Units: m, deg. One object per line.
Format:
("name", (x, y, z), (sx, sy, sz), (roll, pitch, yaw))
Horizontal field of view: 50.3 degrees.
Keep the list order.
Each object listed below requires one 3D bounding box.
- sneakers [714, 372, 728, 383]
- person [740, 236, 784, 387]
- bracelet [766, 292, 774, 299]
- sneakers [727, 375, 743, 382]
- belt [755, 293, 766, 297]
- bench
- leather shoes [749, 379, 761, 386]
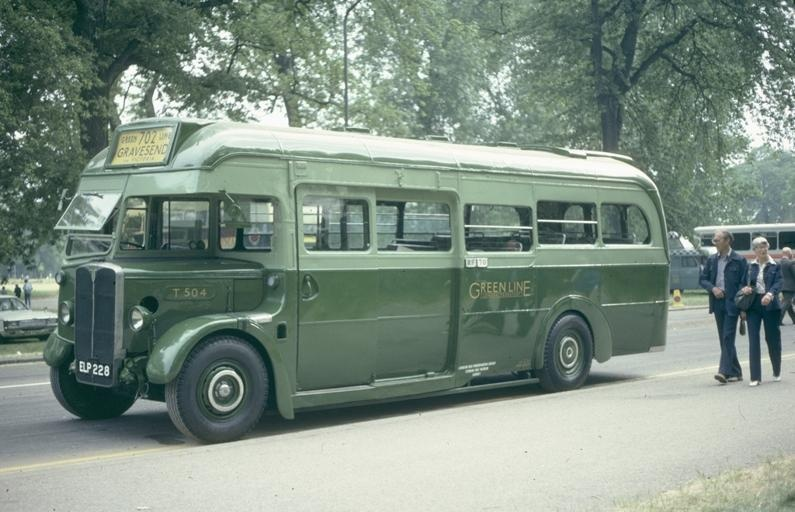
("sneakers", (5.883, 2.218, 15.389), (0.126, 0.109, 0.267), (-11, -50, 39))
("person", (6.584, 1.032, 15.326), (0.677, 2.638, 1.088), (4, 10, 30))
("bracelet", (6.568, 0.694, 14.940), (0.121, 0.122, 0.029), (5, -12, -19))
("sneakers", (6.237, 2.270, 15.633), (0.400, 0.161, 0.130), (6, -6, -25))
("belt", (6.476, 0.670, 15.045), (0.075, 0.054, 0.118), (-7, 11, -34))
("bench", (1.213, -0.312, 16.305), (3.421, 0.448, 0.265), (1, 1, -36))
("leather shoes", (6.423, 2.300, 15.202), (0.224, 0.090, 0.072), (9, -13, -44))
